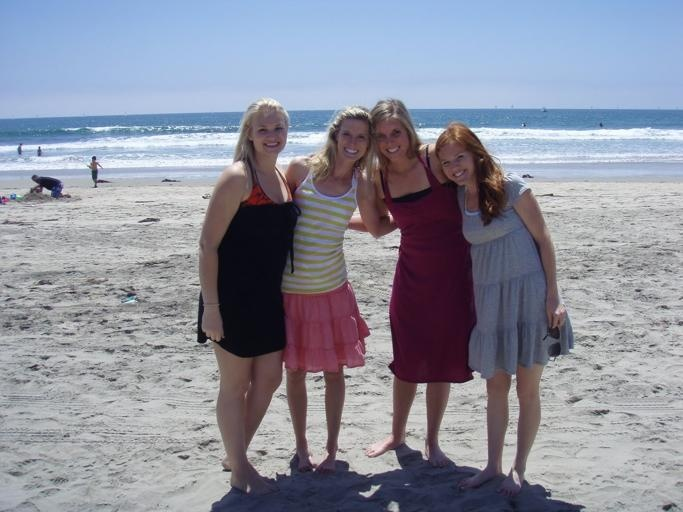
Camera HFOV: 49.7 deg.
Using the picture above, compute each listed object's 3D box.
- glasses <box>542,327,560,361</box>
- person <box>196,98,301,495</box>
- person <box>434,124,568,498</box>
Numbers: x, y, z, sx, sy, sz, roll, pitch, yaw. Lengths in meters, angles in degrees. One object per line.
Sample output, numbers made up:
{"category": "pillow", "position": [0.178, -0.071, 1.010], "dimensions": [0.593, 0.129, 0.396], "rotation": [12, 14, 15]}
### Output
{"category": "glasses", "position": [1.825, 0.763, 6.444], "dimensions": [0.165, 0.224, 0.131], "rotation": [1, -4, -27]}
{"category": "person", "position": [-0.780, 0.355, 6.429], "dimensions": [0.421, 3.391, 0.791], "rotation": [7, 12, 42]}
{"category": "person", "position": [1.446, 0.444, 6.464], "dimensions": [1.136, 3.207, 0.558], "rotation": [1, 9, 15]}
